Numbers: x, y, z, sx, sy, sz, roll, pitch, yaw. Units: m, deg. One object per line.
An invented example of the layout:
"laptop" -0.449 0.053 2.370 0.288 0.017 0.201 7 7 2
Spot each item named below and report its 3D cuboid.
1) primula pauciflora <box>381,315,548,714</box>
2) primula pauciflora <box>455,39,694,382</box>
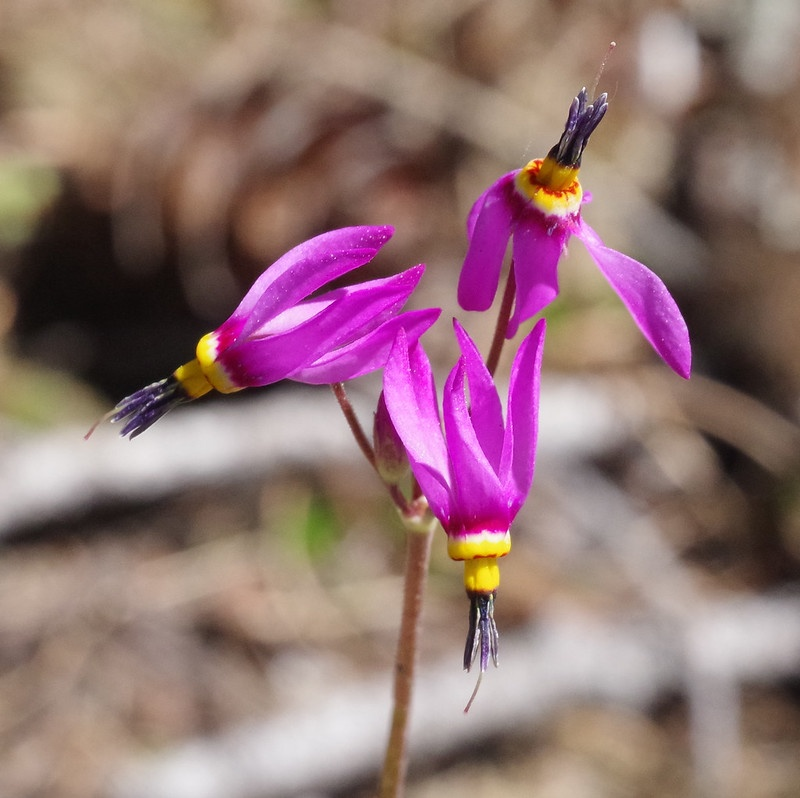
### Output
"primula pauciflora" 0.107 0.223 2.014 0.286 0.568 0.531 3 53 8
"primula pauciflora" 0.303 -0.344 2.071 0.416 0.491 0.365 -5 43 -11
